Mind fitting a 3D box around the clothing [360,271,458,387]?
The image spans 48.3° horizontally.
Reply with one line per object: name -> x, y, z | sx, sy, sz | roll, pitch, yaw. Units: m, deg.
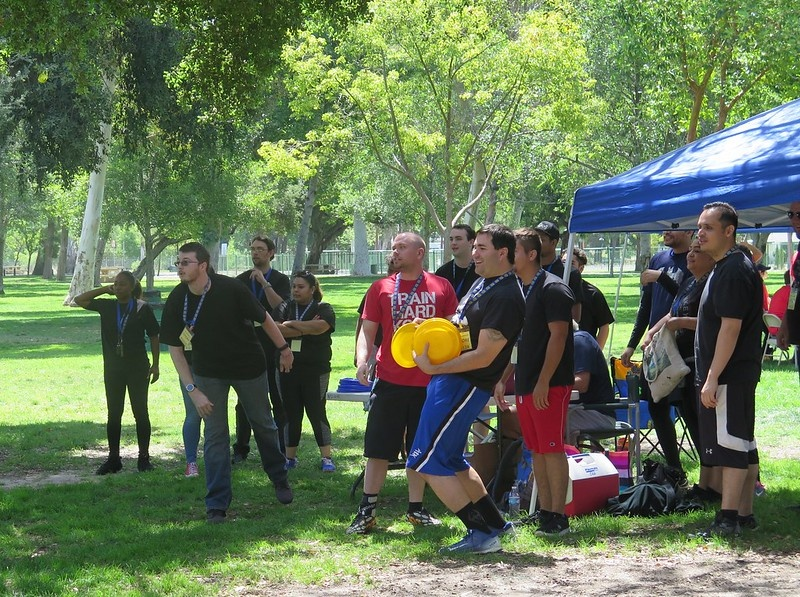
clothing -> 0.100, 0.261, 8.553 | 0.938, 1.094, 0.549 | 2, 16, -5

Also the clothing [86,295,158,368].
clothing -> -3.296, 0.414, 10.761 | 0.763, 0.531, 0.406 | 2, -1, -14

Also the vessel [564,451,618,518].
vessel -> 1.782, 1.796, 8.853 | 0.715, 0.537, 0.501 | -2, -2, -42

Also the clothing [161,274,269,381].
clothing -> -1.886, 0.257, 9.251 | 1.122, 1.122, 0.673 | -6, -2, 41

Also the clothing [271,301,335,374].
clothing -> -1.154, 0.449, 10.646 | 0.811, 0.968, 0.526 | -2, -10, 6

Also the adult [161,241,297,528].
adult -> -1.755, 0.814, 9.034 | 1.283, 2.748, 0.642 | 2, -1, -16

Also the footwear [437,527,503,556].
footwear -> 0.608, 2.104, 7.750 | 0.552, 0.248, 0.206 | 1, -7, 4

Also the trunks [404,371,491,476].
trunks -> 0.457, 1.124, 7.801 | 0.523, 0.945, 0.635 | 10, -1, 23

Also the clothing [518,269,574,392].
clothing -> 1.315, 0.282, 8.345 | 0.580, 1.146, 0.952 | -4, 6, 1

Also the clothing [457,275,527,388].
clothing -> 0.780, 0.287, 7.557 | 0.439, 0.803, 0.812 | 13, 10, -10

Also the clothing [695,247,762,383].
clothing -> 3.055, -0.012, 7.946 | 0.456, 0.896, 0.901 | -3, 14, 29

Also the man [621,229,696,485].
man -> 3.027, 0.580, 10.257 | 0.992, 3.119, 0.848 | -1, 2, -32

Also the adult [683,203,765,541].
adult -> 2.920, 0.644, 7.925 | 0.618, 2.910, 0.896 | 0, -3, 28

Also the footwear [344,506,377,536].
footwear -> -0.379, 2.060, 8.241 | 0.394, 0.288, 0.140 | 2, -2, -41

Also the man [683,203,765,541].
man -> 2.905, 0.644, 7.925 | 0.609, 2.908, 0.883 | 0, -3, 33
